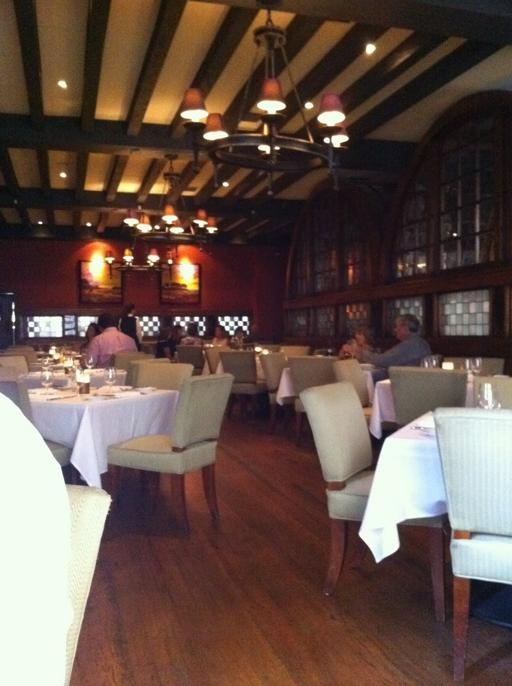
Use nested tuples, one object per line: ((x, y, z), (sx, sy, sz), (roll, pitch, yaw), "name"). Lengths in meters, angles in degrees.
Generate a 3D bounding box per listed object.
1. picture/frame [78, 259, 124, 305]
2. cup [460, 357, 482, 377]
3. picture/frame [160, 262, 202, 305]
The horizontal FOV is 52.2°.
((-4.056, -1.586, 13.445), (1.130, 1.247, 0.131), (1, 4, -15), "picture/frame")
((1.660, 0.192, 4.042), (0.120, 0.195, 0.123), (-2, 7, 0), "cup")
((-2.071, -1.577, 14.003), (1.059, 1.116, 0.108), (5, -14, -15), "picture/frame")
